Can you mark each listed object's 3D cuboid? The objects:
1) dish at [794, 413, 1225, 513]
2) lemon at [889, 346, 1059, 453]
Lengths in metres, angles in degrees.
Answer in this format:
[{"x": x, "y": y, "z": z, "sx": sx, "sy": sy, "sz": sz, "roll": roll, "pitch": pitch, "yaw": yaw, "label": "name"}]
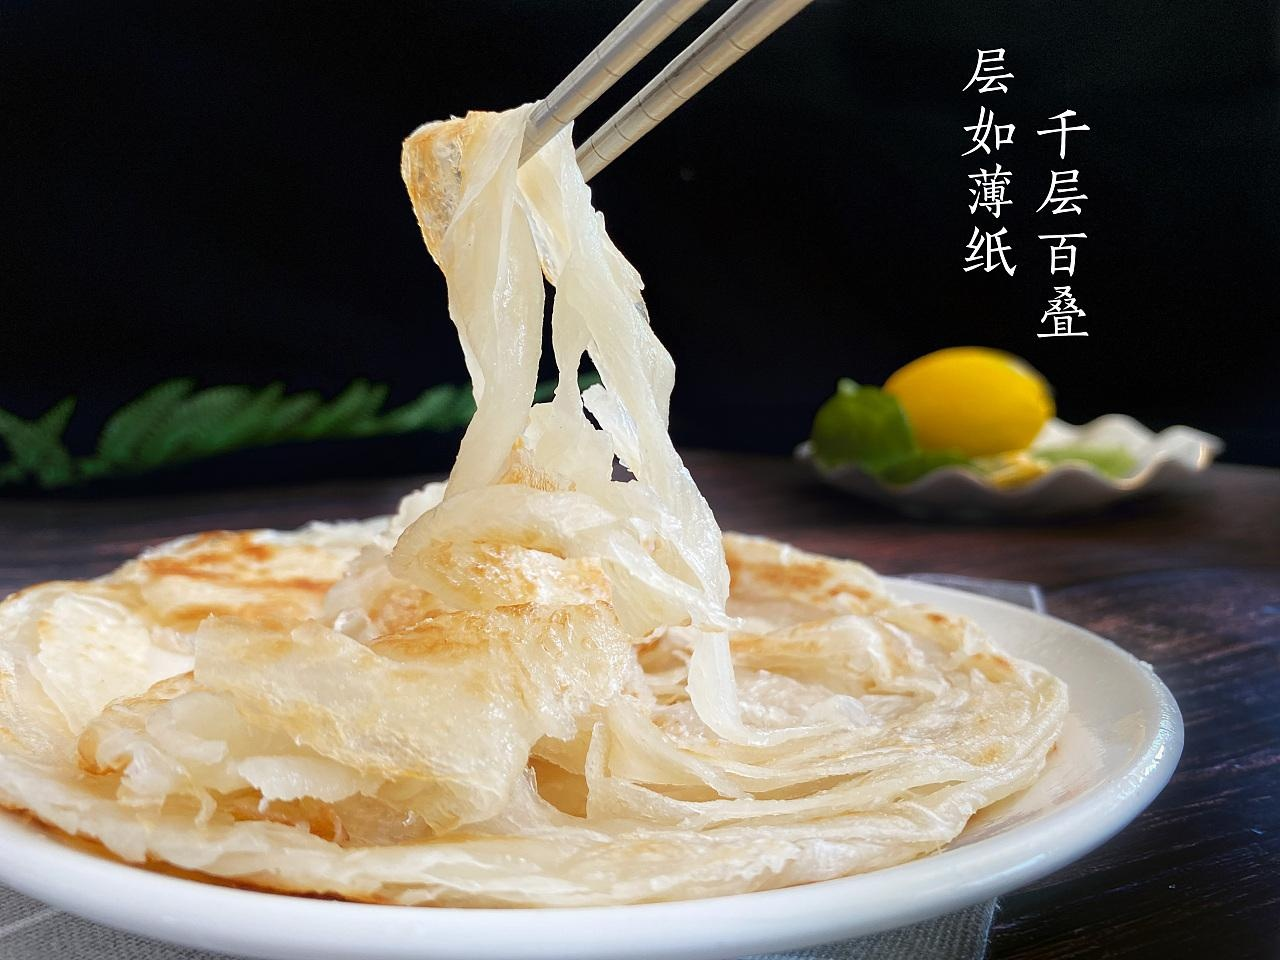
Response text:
[{"x": 0.642, "y": -0.038, "z": 2.666, "sx": 0.614, "sy": 0.081, "sz": 0.594, "roll": 13, "pitch": -13, "yaw": -37, "label": "dish"}, {"x": 0.655, "y": -0.120, "z": 2.913, "sx": 0.350, "sy": 0.149, "sz": 0.319, "roll": 12, "pitch": -17, "yaw": -3, "label": "lemon"}]
